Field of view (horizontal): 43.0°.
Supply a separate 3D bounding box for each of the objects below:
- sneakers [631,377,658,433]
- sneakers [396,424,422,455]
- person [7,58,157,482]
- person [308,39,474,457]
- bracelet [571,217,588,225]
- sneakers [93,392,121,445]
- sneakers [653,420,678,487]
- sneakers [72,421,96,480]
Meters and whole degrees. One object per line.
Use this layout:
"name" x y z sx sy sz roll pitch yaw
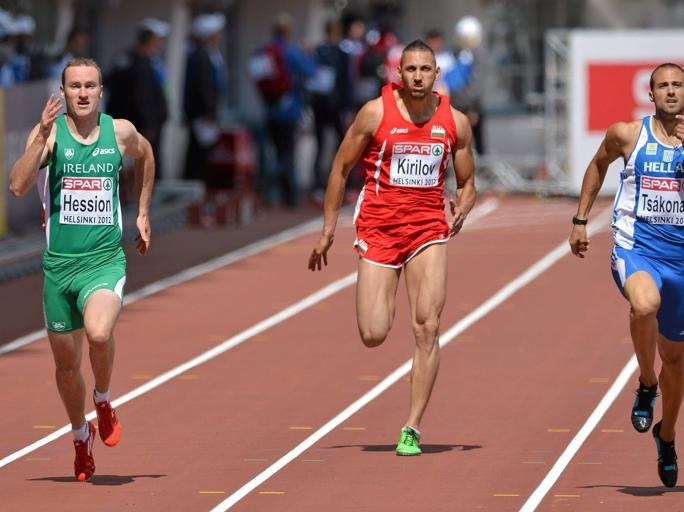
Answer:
"sneakers" 1.708 0.882 4.947 0.122 0.348 0.143 8 -2 15
"sneakers" 0.381 1.061 4.991 0.142 0.178 0.199 -1 9 3
"person" -1.402 0.062 4.703 0.624 2.223 0.804 -1 8 -3
"person" 0.357 -0.067 5.171 0.980 2.408 0.735 -1 8 -1
"bracelet" 1.377 -0.198 5.001 0.068 0.035 0.056 -4 10 -40
"sneakers" -1.276 0.955 4.844 0.109 0.331 0.140 -15 10 -13
"sneakers" 1.620 1.026 4.399 0.124 0.336 0.139 -6 1 -2
"sneakers" -1.351 1.054 4.632 0.103 0.319 0.133 -4 2 4
